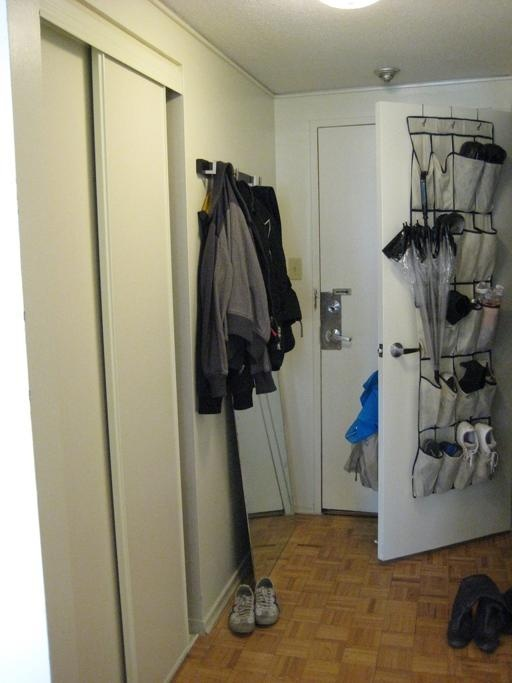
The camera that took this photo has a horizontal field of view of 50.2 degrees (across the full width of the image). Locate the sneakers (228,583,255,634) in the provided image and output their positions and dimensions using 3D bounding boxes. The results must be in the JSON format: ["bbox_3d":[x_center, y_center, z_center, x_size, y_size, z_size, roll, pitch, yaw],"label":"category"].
[{"bbox_3d":[-0.057,1.073,2.189,0.102,0.075,0.240,-2,4,0],"label":"sneakers"}]

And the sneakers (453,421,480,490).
[{"bbox_3d":[0.972,0.537,2.559,0.080,0.372,0.119,0,7,2],"label":"sneakers"}]

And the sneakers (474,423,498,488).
[{"bbox_3d":[1.105,0.515,2.628,0.083,0.348,0.111,-2,13,-3],"label":"sneakers"}]

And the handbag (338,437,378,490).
[{"bbox_3d":[0.534,0.588,2.740,0.079,0.289,0.255,-2,4,-19],"label":"handbag"}]

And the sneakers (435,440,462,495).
[{"bbox_3d":[0.883,0.567,2.517,0.103,0.248,0.138,20,21,36],"label":"sneakers"}]

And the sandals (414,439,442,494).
[{"bbox_3d":[0.787,0.582,2.500,0.129,0.266,0.077,-2,3,-6],"label":"sandals"}]

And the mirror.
[{"bbox_3d":[0.027,0.682,2.605,0.015,1.131,0.673,-3,6,14],"label":"mirror"}]

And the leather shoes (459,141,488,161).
[{"bbox_3d":[0.972,-0.864,2.458,0.132,0.106,0.073,-4,5,-33],"label":"leather shoes"}]

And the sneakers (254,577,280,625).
[{"bbox_3d":[0.041,1.068,2.244,0.073,0.119,0.275,-4,2,0],"label":"sneakers"}]

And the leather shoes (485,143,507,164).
[{"bbox_3d":[1.085,-0.852,2.482,0.057,0.138,0.063,7,-32,-1],"label":"leather shoes"}]
